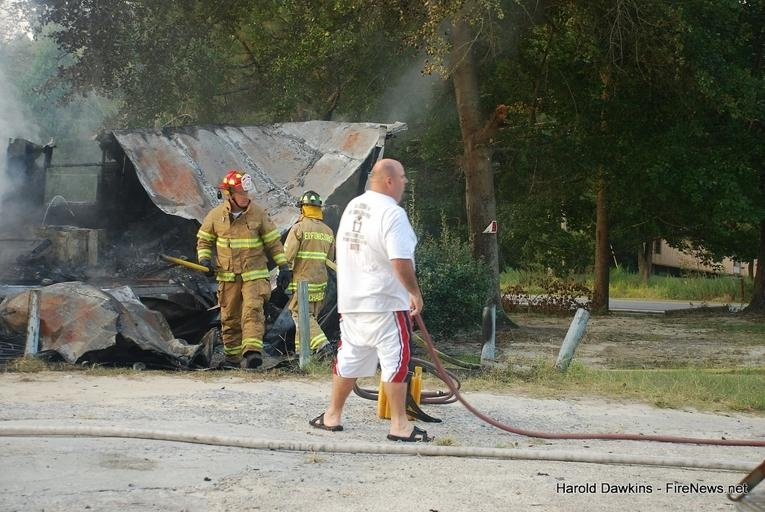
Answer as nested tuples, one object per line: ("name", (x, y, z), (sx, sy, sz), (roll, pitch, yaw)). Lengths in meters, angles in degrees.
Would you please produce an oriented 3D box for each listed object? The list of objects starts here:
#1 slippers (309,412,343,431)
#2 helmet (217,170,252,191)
("slippers", (-0.968, 2.792, 19.434), (0.561, 0.240, 0.256), (8, 1, 33))
("helmet", (-2.862, -1.407, 22.029), (0.546, 0.263, 0.421), (-1, 7, 16))
